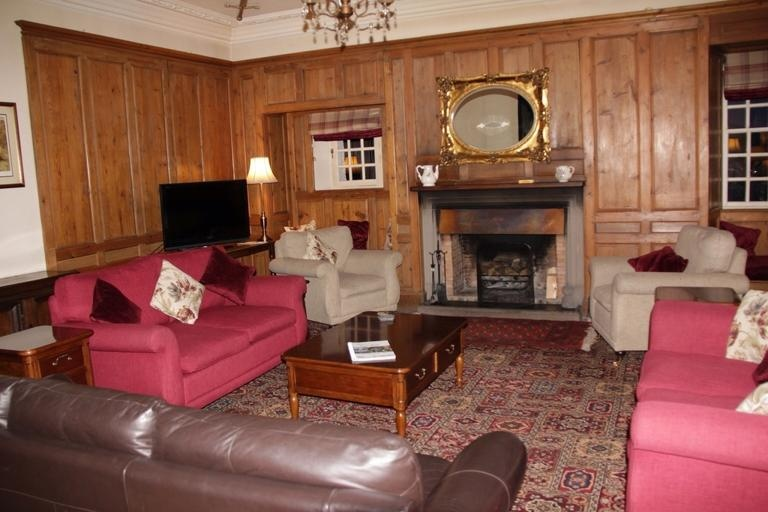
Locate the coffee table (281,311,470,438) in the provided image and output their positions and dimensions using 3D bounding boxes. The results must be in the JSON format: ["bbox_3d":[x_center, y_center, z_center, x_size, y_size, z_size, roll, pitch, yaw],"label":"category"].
[{"bbox_3d":[-0.152,0.786,4.175,0.975,0.430,1.176,1,7,21],"label":"coffee table"}]

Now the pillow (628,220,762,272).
[{"bbox_3d":[3.076,-0.098,5.565,0.587,0.396,0.554,5,17,22],"label":"pillow"}]

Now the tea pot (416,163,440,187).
[{"bbox_3d":[0.558,-1.039,7.067,0.316,0.264,0.345,-2,14,1],"label":"tea pot"}]

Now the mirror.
[{"bbox_3d":[1.419,-1.766,6.805,1.614,1.031,0.087,0,8,16],"label":"mirror"}]

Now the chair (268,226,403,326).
[{"bbox_3d":[-0.560,0.276,6.511,1.236,1.040,1.663,4,7,38],"label":"chair"}]

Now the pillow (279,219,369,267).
[{"bbox_3d":[-0.802,-0.170,6.661,0.807,0.616,0.839,4,11,33],"label":"pillow"}]

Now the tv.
[{"bbox_3d":[-2.286,-0.539,7.037,0.328,0.849,1.280,6,16,29],"label":"tv"}]

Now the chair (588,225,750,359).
[{"bbox_3d":[2.559,0.254,5.412,1.512,1.252,1.441,1,6,17],"label":"chair"}]

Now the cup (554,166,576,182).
[{"bbox_3d":[2.156,-0.987,6.554,0.208,0.185,0.293,3,14,20],"label":"cup"}]
